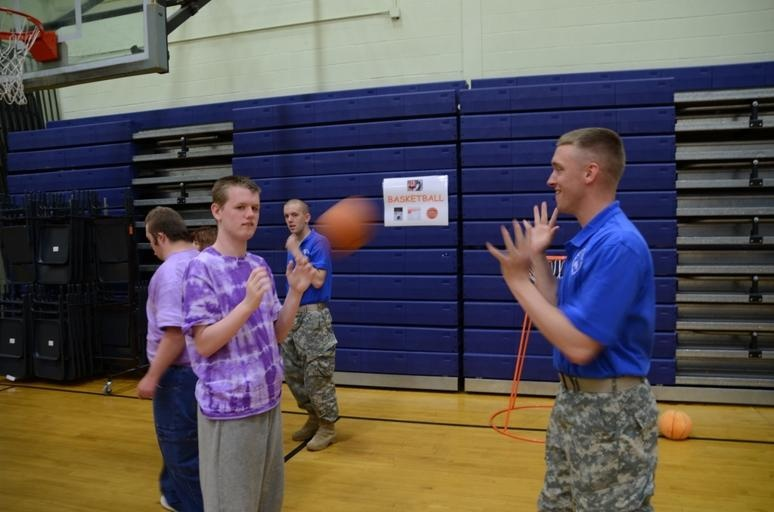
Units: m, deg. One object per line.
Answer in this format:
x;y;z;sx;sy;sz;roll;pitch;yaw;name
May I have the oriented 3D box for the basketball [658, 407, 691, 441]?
2.965;1.736;6.489;0.332;0.277;0.230;0;1;14;basketball
